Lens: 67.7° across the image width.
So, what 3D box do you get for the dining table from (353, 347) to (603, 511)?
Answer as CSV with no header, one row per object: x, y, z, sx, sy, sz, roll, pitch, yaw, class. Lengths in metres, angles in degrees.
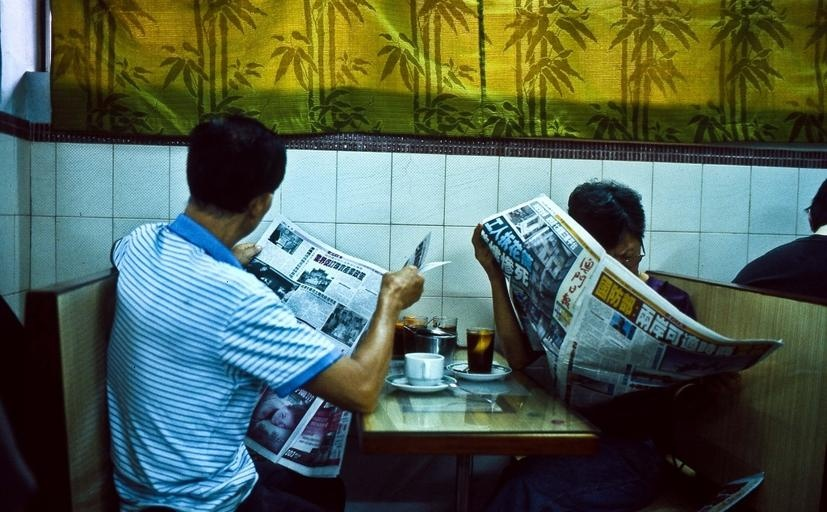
0.158,0.730,2.143,0.750,0.676,0.712,1,17,-4,dining table

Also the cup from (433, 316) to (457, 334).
0.108,0.239,2.177,0.072,0.064,0.063,3,1,-1,cup

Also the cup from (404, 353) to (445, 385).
0.036,0.341,1.896,0.088,0.071,0.108,1,5,-3,cup
